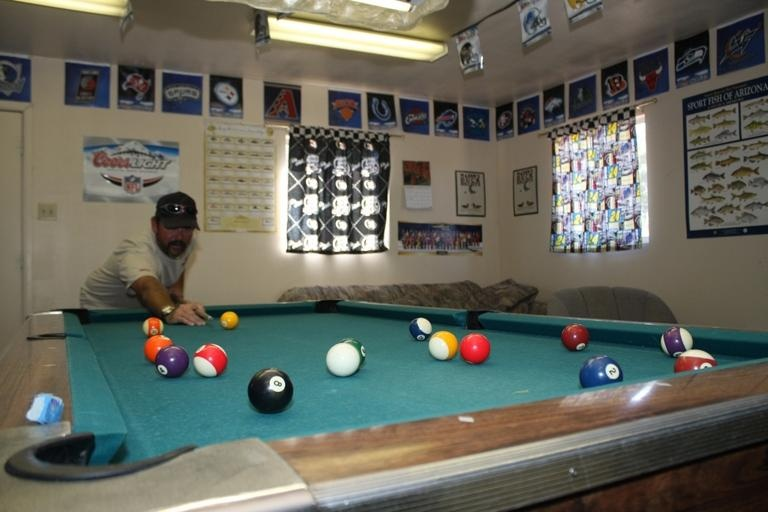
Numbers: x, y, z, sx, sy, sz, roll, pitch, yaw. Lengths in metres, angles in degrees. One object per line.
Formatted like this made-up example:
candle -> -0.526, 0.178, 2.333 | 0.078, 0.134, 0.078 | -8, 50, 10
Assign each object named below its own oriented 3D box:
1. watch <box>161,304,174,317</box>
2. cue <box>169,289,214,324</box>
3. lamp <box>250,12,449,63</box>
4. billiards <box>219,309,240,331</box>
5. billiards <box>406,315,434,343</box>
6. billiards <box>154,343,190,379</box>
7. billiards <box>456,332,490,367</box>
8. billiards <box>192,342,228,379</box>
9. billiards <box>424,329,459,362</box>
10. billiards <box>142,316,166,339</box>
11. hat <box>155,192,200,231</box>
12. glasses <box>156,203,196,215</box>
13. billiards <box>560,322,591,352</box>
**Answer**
watch -> -1.256, 0.319, 3.100 | 0.051, 0.025, 0.063 | -3, 32, 11
cue -> -1.318, 0.342, 3.591 | 0.188, 0.163, 1.022 | 5, -3, -18
lamp -> -0.236, -1.594, 4.423 | 1.737, 0.139, 0.419 | 5, -18, -24
billiards -> -0.855, 0.360, 2.997 | 0.099, 0.101, 0.101 | -7, -10, -43
billiards -> 0.173, 0.351, 2.589 | 0.100, 0.112, 0.098 | -9, 10, -42
billiards -> -0.752, 0.364, 1.918 | 0.107, 0.106, 0.104 | 15, 17, 26
billiards -> 0.342, 0.354, 2.068 | 0.104, 0.107, 0.107 | 12, 28, 14
billiards -> -0.627, 0.378, 1.920 | 0.107, 0.111, 0.112 | 4, 2, -16
billiards -> 0.231, 0.354, 2.142 | 0.104, 0.104, 0.106 | 16, -3, -25
billiards -> -1.163, 0.365, 2.711 | 0.076, 0.085, 0.092 | 1, -2, 17
hat -> -1.532, -0.365, 3.990 | 0.268, 0.242, 0.407 | 0, 15, -41
glasses -> -1.514, -0.337, 3.916 | 0.264, 0.087, 0.109 | 3, 3, -25
billiards -> 0.792, 0.322, 2.264 | 0.108, 0.126, 0.107 | 25, 11, 22
